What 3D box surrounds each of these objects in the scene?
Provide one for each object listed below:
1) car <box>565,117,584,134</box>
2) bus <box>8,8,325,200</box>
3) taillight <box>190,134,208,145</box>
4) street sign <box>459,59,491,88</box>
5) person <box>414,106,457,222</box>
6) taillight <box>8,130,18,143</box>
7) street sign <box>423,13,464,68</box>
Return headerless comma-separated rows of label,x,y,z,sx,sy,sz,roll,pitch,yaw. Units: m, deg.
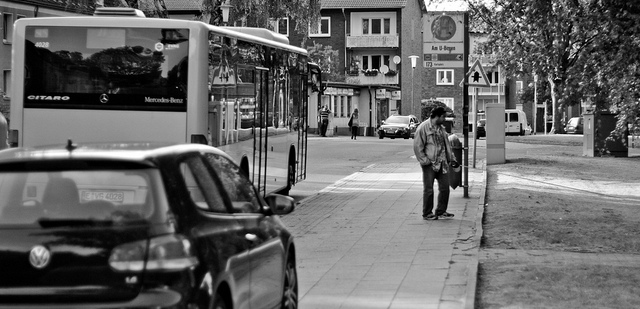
car,30.246,-3.472,68.164,1.091,1.905,2.305,0,7,0
bus,-2.999,-1.202,17.228,4.311,4.251,10.501,1,1,28
taillight,-2.827,-0.361,13.216,0.454,0.197,0.209,2,7,13
street sign,5.525,-2.897,20.375,1.172,0.949,0.062,2,2,-19
person,3.006,0.224,15.125,1.039,2.963,0.608,0,7,2
taillight,-7.278,-0.426,13.622,0.323,0.312,0.021,-2,-8,4
street sign,4.375,-4.033,20.289,2.036,2.363,0.180,0,3,4
